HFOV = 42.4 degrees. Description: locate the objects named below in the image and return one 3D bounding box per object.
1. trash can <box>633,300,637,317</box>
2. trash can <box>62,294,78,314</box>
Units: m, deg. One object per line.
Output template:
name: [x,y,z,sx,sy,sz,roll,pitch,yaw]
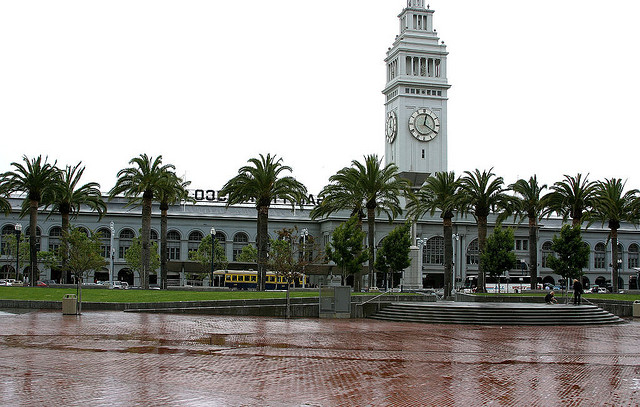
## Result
trash can: [24.328,8.204,63.655,0.290,1.119,0.591,-1,-6,21]
trash can: [-17.344,7.034,57.812,1.282,1.598,1.258,1,-1,-1]
